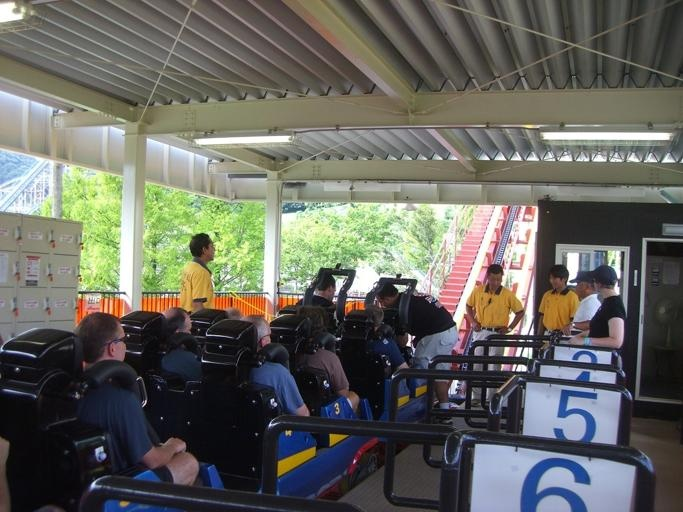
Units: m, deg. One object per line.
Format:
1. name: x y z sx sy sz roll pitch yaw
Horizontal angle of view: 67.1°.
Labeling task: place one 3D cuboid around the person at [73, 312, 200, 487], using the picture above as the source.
1. person: -1.168 0.875 2.999 0.717 0.899 0.457 5 -3 -27

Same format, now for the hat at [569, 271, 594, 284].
1. hat: 3.315 0.288 7.169 0.338 0.153 0.237 2 1 22

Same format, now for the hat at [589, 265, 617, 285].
1. hat: 2.798 0.208 5.511 0.184 0.140 0.242 6 20 -6
